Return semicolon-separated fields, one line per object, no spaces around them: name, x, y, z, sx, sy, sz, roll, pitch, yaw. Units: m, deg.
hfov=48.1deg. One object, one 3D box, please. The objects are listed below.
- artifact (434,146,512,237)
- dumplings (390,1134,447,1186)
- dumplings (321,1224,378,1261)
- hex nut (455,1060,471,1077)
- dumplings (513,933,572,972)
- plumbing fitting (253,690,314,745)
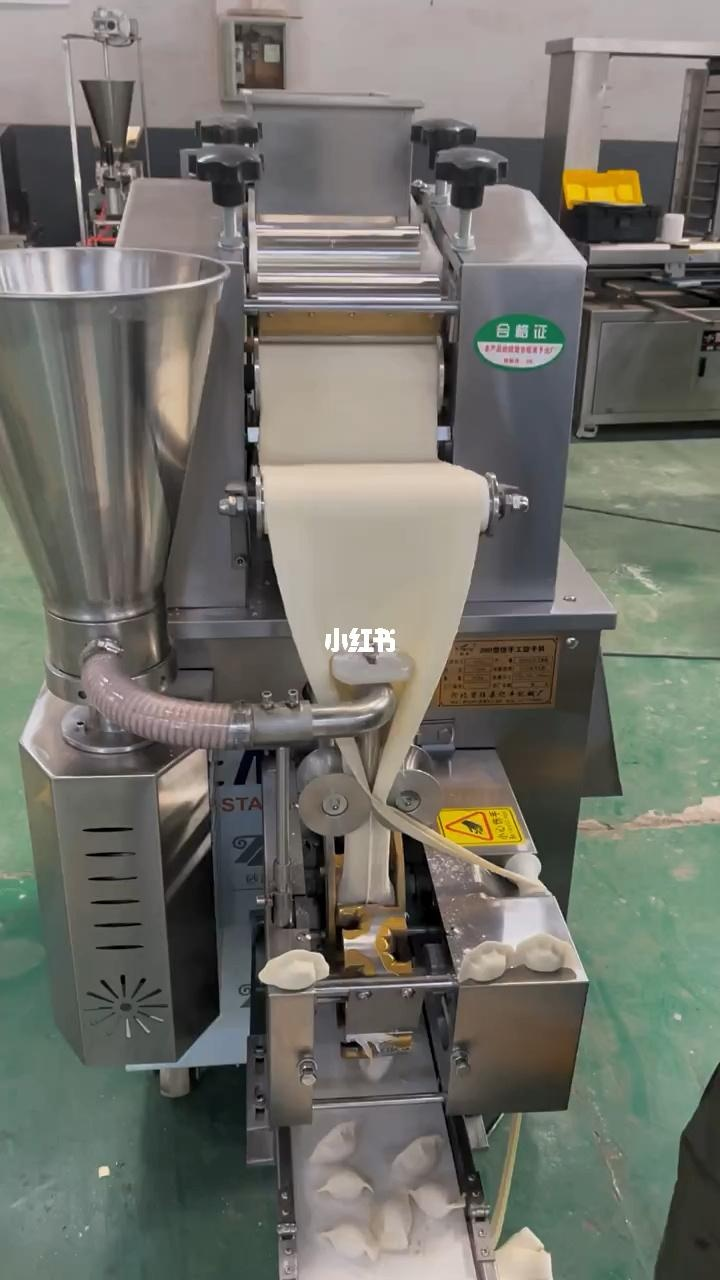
artifact;0.115;-0.473;0.867;0.063;0.089;0.068;-15;49;-11
dumplings;0.058;0.519;0.801;0.066;0.016;0.034;-18;37;-26
dumplings;-0.009;0.531;0.715;0.038;0.013;0.025;18;65;22
hex nut;0.088;0.372;0.702;0.012;0.013;0.014;4;30;3
dumplings;0.154;0.266;0.683;0.048;0.028;0.021;7;31;10
plumbing fitting;-0.061;0.067;0.627;0.047;0.048;0.037;-3;12;-17
